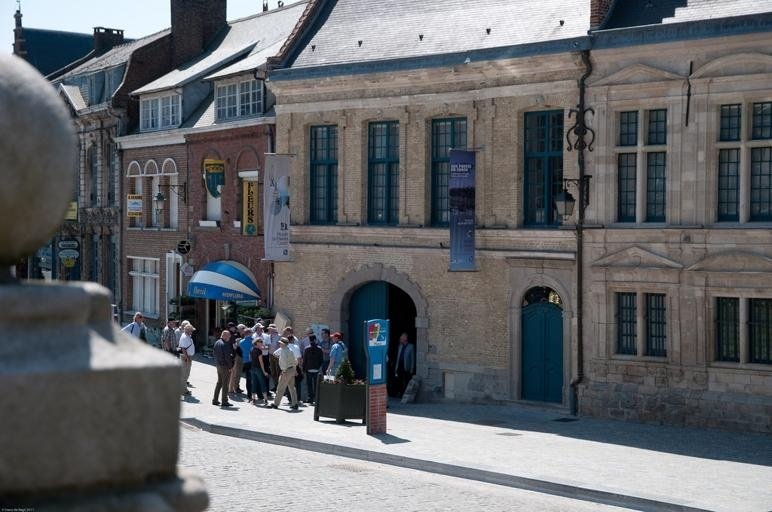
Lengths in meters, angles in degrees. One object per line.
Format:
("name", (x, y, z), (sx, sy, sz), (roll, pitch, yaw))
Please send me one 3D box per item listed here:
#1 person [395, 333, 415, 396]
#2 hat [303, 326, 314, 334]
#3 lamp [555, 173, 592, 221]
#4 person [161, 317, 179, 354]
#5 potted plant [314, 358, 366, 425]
("person", (0.609, 3.315, 35.904), (0.546, 2.114, 1.363), (-1, 10, -4))
("hat", (-2.386, 2.344, 37.608), (0.282, 0.112, 0.318), (-21, -1, -10))
("lamp", (5.037, -1.559, 32.201), (0.866, 1.235, 0.600), (6, 12, 32))
("person", (-6.323, 2.374, 35.243), (0.426, 1.144, 1.664), (-2, 10, -11))
("potted plant", (-1.199, 3.527, 31.299), (1.338, 1.661, 0.749), (0, 10, 1))
